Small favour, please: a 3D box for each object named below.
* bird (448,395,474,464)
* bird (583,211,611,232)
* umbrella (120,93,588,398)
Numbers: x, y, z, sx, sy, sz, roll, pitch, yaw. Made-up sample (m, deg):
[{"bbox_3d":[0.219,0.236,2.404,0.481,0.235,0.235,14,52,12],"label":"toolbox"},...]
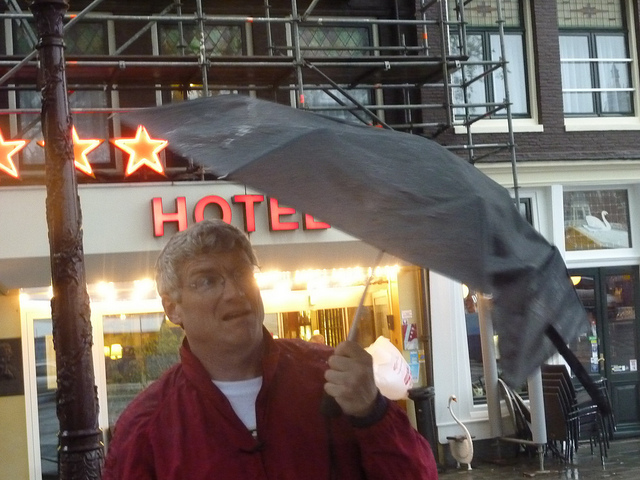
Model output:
[{"bbox_3d":[2.160,2.951,11.186,0.322,0.937,0.530,-7,-2,3],"label":"bird"},{"bbox_3d":[5.084,-0.329,13.156,0.537,0.383,0.099,-6,-2,-26],"label":"bird"},{"bbox_3d":[0.365,-0.136,3.200,1.267,0.798,1.335,34,1,12],"label":"umbrella"}]
